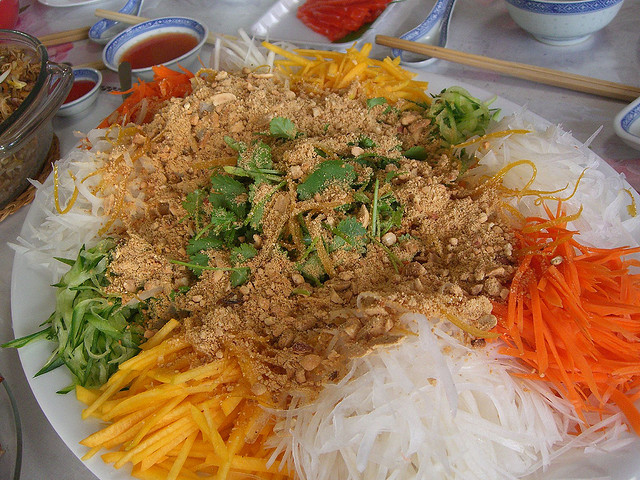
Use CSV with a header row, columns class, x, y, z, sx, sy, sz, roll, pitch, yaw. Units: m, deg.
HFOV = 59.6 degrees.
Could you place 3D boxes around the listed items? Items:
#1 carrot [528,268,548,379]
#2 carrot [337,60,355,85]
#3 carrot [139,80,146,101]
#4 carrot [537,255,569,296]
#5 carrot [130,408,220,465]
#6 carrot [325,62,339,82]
class,x,y,z,sx,sy,sz,roll,pitch,yaw
carrot,0.786,0.318,2.012,0.049,0.032,0.324,4,67,10
carrot,0.126,-0.836,2.761,0.049,0.028,0.129,34,79,10
carrot,-0.894,-0.762,2.833,0.023,0.029,0.097,7,80,-13
carrot,0.854,0.131,2.082,0.033,0.031,0.228,-12,51,-21
carrot,-0.574,0.748,2.065,0.251,0.050,0.030,-31,76,-6
carrot,0.062,-0.843,2.802,0.053,0.079,0.077,15,52,10
